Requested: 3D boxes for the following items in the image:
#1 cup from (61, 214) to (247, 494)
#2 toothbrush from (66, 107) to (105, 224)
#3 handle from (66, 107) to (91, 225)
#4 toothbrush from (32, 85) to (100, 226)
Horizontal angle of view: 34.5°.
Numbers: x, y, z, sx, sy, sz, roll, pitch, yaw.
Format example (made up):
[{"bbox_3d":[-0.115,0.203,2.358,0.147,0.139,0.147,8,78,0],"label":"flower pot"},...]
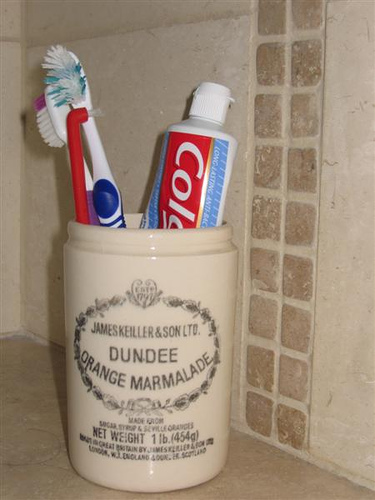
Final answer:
[{"bbox_3d":[-0.024,0.066,0.483,0.157,0.272,0.162,1,7,0],"label":"cup"},{"bbox_3d":[-0.075,-0.056,0.424,0.024,0.101,0.009,-1,46,-4],"label":"toothbrush"},{"bbox_3d":[-0.080,-0.058,0.411,0.014,0.078,0.020,-1,9,-11],"label":"handle"},{"bbox_3d":[-0.097,-0.069,0.469,0.066,0.100,0.048,-8,24,-44],"label":"toothbrush"}]
